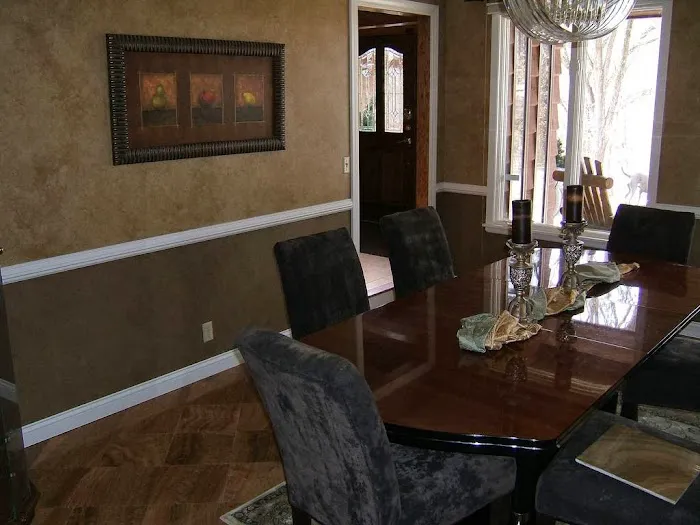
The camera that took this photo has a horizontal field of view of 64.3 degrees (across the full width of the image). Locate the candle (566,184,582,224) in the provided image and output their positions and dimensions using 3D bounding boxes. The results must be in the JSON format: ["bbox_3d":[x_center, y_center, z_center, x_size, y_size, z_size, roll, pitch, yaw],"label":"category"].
[{"bbox_3d":[1.053,-0.273,2.606,0.067,0.180,0.042,2,18,12],"label":"candle"}]

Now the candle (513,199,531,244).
[{"bbox_3d":[0.685,-0.166,2.230,0.089,0.172,0.070,10,21,33],"label":"candle"}]
